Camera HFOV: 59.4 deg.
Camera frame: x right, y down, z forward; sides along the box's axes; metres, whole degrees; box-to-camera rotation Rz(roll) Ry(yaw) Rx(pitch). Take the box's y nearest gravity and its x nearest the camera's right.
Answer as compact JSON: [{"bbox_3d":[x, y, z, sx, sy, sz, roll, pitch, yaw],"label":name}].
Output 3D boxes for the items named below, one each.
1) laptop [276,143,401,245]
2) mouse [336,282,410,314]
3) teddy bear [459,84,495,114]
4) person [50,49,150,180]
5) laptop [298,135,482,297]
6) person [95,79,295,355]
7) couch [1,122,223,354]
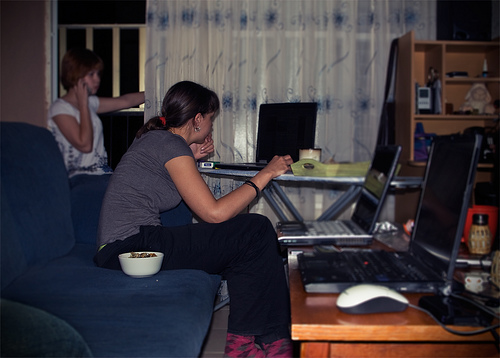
[{"bbox_3d":[0.334,0.038,1.780,0.409,0.394,0.395,2,4,-5],"label":"laptop"},{"bbox_3d":[0.318,0.323,1.165,0.144,0.054,0.088,-2,4,-4],"label":"mouse"},{"bbox_3d":[1.787,-0.626,3.437,0.193,0.263,0.142,3,-15,12],"label":"teddy bear"},{"bbox_3d":[-0.985,-0.339,3.020,0.697,0.985,0.669,4,16,-4],"label":"person"},{"bbox_3d":[0.406,0.086,1.328,0.506,0.453,0.306,2,9,6],"label":"laptop"},{"bbox_3d":[-0.254,0.178,2.527,1.185,1.788,0.750,0,-2,-12],"label":"person"},{"bbox_3d":[-0.542,0.241,1.727,0.593,0.463,1.022,3,3,-10],"label":"couch"}]
